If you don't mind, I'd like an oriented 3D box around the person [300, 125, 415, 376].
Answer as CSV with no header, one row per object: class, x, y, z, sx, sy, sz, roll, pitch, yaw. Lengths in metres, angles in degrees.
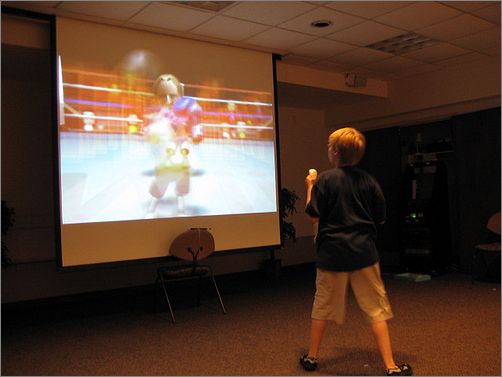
person,0.820,0.525,3.028,0.800,2.115,0.299,-2,-2,8
